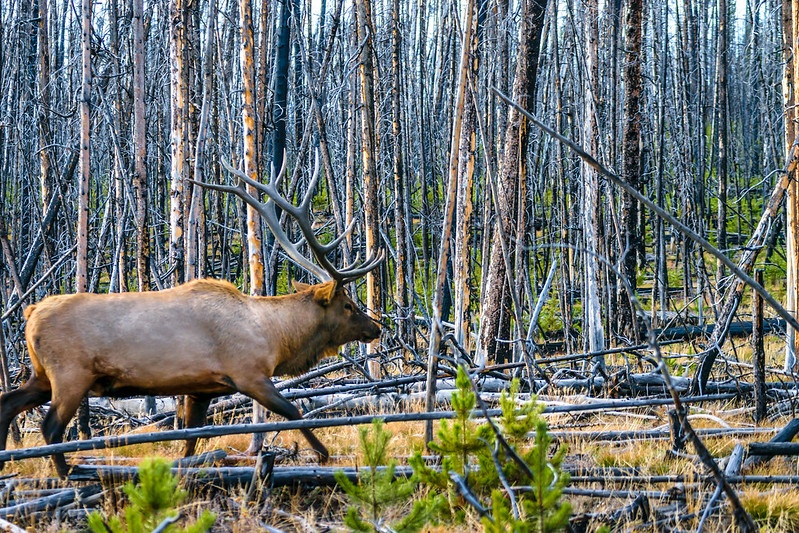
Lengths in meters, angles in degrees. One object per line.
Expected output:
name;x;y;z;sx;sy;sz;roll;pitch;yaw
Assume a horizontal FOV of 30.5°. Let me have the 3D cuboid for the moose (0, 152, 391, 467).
moose;-4.122;1.414;33.255;9.725;10.923;3.703;1;-4;-21
